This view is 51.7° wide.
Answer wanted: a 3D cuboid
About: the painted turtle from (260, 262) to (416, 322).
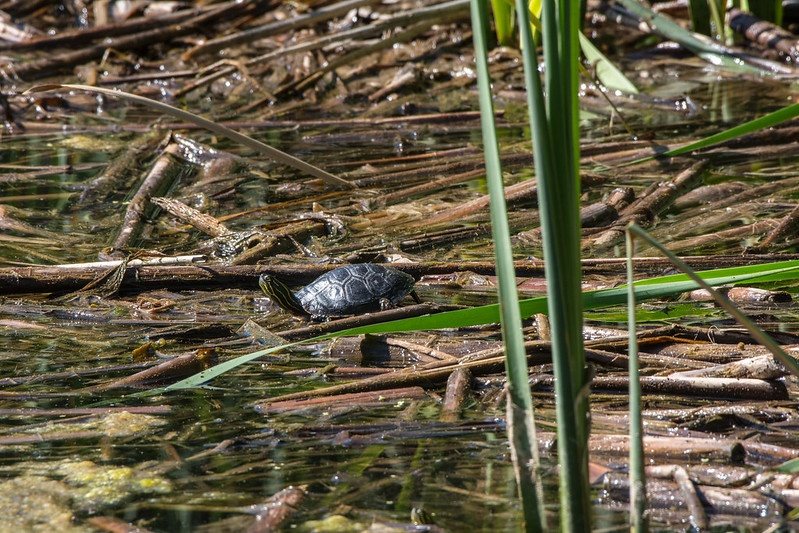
[{"bbox_3d":[-0.378,0.164,5.447,0.921,0.445,0.153,-3,99,-1],"label":"painted turtle"}]
